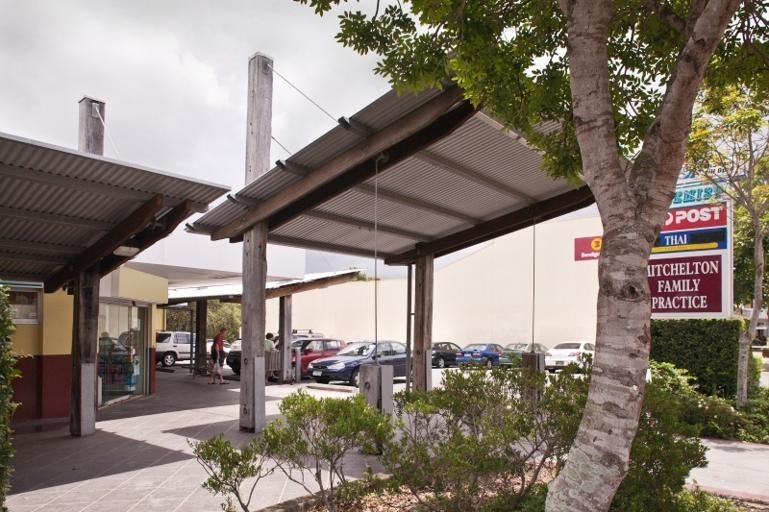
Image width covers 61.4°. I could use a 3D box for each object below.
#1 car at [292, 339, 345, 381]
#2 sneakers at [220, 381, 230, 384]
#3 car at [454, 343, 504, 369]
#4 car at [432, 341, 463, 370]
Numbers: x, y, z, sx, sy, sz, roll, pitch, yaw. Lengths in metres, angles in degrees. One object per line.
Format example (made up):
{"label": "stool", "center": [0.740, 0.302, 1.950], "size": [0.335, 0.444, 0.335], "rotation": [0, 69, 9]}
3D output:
{"label": "car", "center": [-2.484, 3.614, 23.977], "size": [1.870, 0.964, 1.065], "rotation": [9, -15, -41]}
{"label": "sneakers", "center": [-5.469, 4.280, 22.034], "size": [0.210, 0.083, 0.121], "rotation": [-3, -1, -12]}
{"label": "car", "center": [4.247, 4.318, 29.004], "size": [1.966, 1.110, 4.133], "rotation": [-2, -11, 10]}
{"label": "car", "center": [2.999, 4.588, 30.320], "size": [0.939, 0.727, 2.059], "rotation": [-8, -16, 31]}
